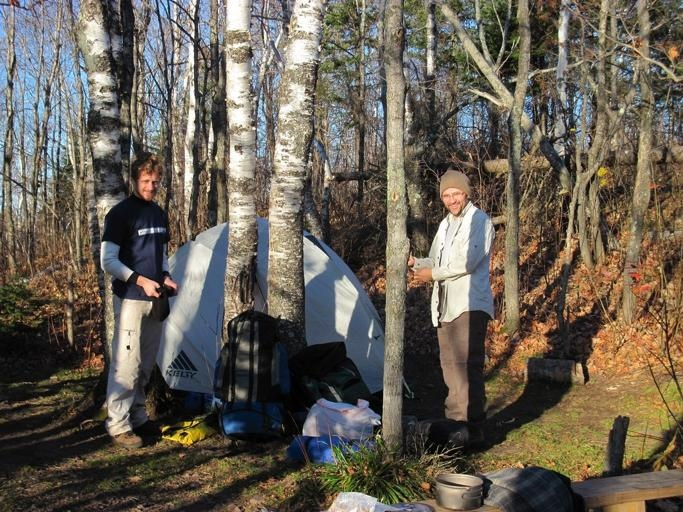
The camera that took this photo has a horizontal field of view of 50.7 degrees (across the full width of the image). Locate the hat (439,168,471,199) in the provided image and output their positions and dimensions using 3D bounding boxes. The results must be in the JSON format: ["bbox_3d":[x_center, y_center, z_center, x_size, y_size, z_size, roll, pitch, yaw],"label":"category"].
[{"bbox_3d":[1.384,-0.888,8.621,0.287,0.277,0.335,-4,-34,18],"label":"hat"}]

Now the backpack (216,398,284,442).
[{"bbox_3d":[-1.053,1.905,8.403,0.587,0.425,0.439,0,-4,-3],"label":"backpack"}]

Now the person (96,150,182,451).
[{"bbox_3d":[-2.400,0.504,8.384,0.892,3.316,0.788,-5,12,-20],"label":"person"}]

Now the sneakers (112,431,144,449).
[{"bbox_3d":[-2.479,2.122,8.305,0.303,0.147,0.170,-4,2,16],"label":"sneakers"}]

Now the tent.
[{"bbox_3d":[-0.685,0.541,11.326,2.446,1.644,3.457,2,-3,-37],"label":"tent"}]

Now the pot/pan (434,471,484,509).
[{"bbox_3d":[1.116,2.197,6.753,0.452,0.265,0.290,1,11,11],"label":"pot/pan"}]

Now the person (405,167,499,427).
[{"bbox_3d":[1.366,0.627,8.516,0.889,3.210,1.124,0,11,7],"label":"person"}]
